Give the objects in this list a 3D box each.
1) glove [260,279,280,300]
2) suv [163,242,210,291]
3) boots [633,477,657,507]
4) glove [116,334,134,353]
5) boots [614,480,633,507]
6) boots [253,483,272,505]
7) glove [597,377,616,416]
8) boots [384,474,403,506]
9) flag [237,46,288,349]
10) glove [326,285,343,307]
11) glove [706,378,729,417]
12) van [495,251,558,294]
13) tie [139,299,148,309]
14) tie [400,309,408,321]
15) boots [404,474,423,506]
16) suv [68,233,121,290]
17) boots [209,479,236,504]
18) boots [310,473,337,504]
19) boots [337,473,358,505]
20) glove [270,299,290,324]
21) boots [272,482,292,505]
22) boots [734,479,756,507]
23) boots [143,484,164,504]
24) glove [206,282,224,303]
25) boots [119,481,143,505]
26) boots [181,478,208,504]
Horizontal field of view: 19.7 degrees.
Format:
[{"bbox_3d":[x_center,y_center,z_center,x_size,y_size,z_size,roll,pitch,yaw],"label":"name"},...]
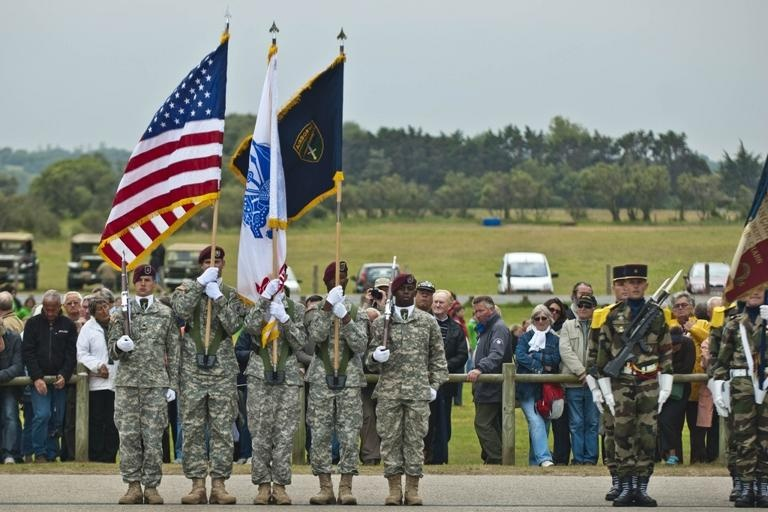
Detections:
[{"bbox_3d":[-2.104,0.583,40.710,0.348,0.382,0.158,0,-7,-8],"label":"glove"},{"bbox_3d":[-6.440,0.228,67.467,1.838,1.683,3.008,-1,-2,-2],"label":"suv"},{"bbox_3d":[4.781,4.307,40.570,0.383,0.535,0.332,-1,-7,6],"label":"boots"},{"bbox_3d":[-4.761,1.590,40.568,0.330,0.311,0.209,0,-7,-7],"label":"glove"},{"bbox_3d":[4.363,4.320,40.491,0.219,0.492,0.359,-6,-9,40],"label":"boots"},{"bbox_3d":[-2.241,4.333,40.480,0.328,0.383,0.169,0,-7,0],"label":"boots"},{"bbox_3d":[4.096,2.565,40.812,0.269,0.694,0.082,-1,-7,4],"label":"glove"},{"bbox_3d":[0.170,4.293,40.697,0.319,0.562,0.505,0,-7,0],"label":"boots"},{"bbox_3d":[-2.295,-1.541,41.174,0.908,4.800,0.494,-1,-7,2],"label":"flag"},{"bbox_3d":[-0.916,0.694,40.672,0.318,0.378,0.243,0,-7,-5],"label":"glove"},{"bbox_3d":[6.222,2.603,41.087,0.303,0.739,0.540,0,-7,-4],"label":"glove"},{"bbox_3d":[3.350,0.384,53.540,1.551,0.991,2.971,0,2,7],"label":"van"},{"bbox_3d":[-4.446,0.845,40.876,0.152,0.194,0.042,0,-7,-2],"label":"tie"},{"bbox_3d":[0.361,1.051,40.922,0.122,0.176,0.047,-7,-5,-3],"label":"tie"},{"bbox_3d":[0.511,4.277,40.541,0.315,0.563,0.232,0,-7,-1],"label":"boots"},{"bbox_3d":[-9.121,0.004,68.247,2.292,2.100,4.014,1,-2,-8],"label":"suv"},{"bbox_3d":[-2.972,4.305,40.546,0.488,0.454,0.487,3,-7,-30],"label":"boots"},{"bbox_3d":[-1.144,4.258,40.553,0.493,0.550,0.257,0,-7,-7],"label":"boots"},{"bbox_3d":[-0.700,4.273,40.701,0.344,0.550,0.519,0,-7,-1],"label":"boots"},{"bbox_3d":[-1.953,1.010,40.645,0.360,0.400,0.145,-10,-1,7],"label":"glove"},{"bbox_3d":[-1.896,4.338,40.463,0.356,0.371,0.137,0,-7,-3],"label":"boots"},{"bbox_3d":[6.597,4.340,40.496,0.377,0.477,0.342,-1,-7,8],"label":"boots"},{"bbox_3d":[-4.228,4.366,40.473,0.356,0.316,0.213,0,-7,-6],"label":"boots"},{"bbox_3d":[-3.149,0.635,40.733,0.304,0.313,0.137,-9,8,-4],"label":"glove"},{"bbox_3d":[-4.643,4.322,40.439,0.450,0.396,0.264,0,-7,-7],"label":"boots"},{"bbox_3d":[-3.498,4.302,40.514,0.451,0.452,0.277,0,-7,-5],"label":"boots"}]
